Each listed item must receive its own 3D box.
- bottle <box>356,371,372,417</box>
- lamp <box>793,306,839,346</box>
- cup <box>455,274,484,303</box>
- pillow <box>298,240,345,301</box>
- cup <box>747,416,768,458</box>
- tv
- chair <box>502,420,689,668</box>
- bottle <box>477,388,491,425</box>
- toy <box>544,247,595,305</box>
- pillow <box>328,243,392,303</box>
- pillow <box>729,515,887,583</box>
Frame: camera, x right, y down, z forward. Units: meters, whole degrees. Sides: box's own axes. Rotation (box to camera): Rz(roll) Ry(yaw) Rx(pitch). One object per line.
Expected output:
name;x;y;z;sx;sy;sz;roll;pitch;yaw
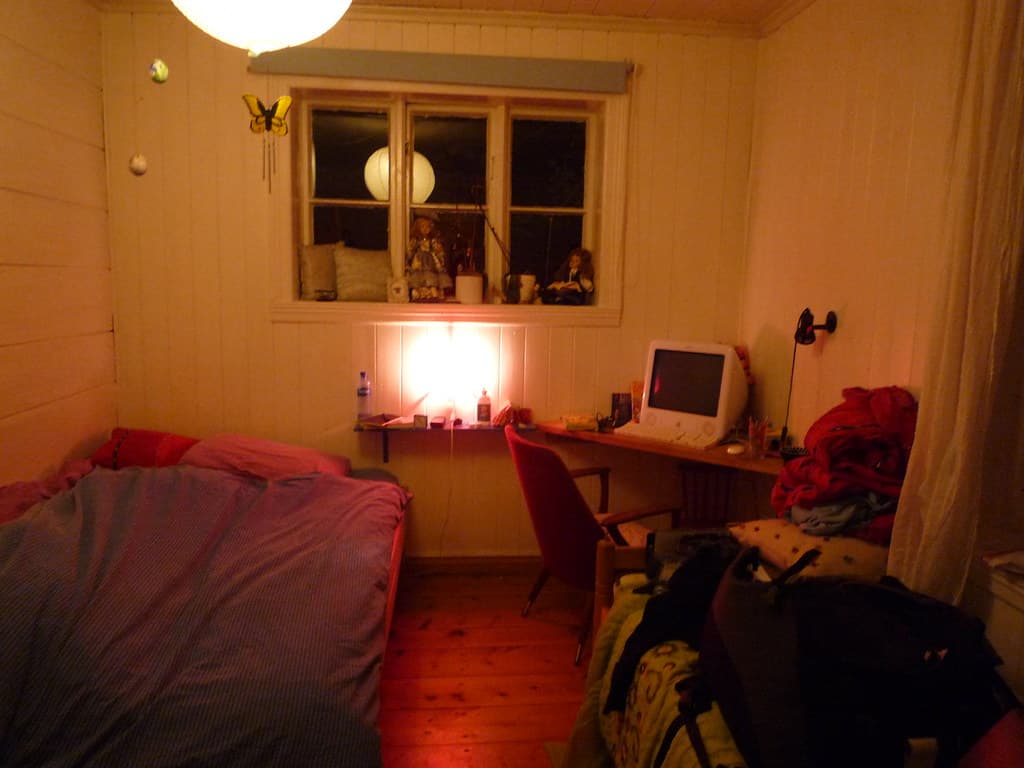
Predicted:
bottle;-0.823;0.056;4.390;0.075;0.253;0.054;-2;8;-13
lamp;1.392;-0.267;3.668;0.162;0.184;0.141;-2;3;-4
cup;-0.238;-0.533;4.438;0.132;0.154;0.148;3;4;28
pillow;-1.061;-0.621;4.408;0.275;0.295;0.099;-6;3;-23
cup;1.148;0.255;3.703;0.080;0.138;0.146;3;9;18
tv;0.925;0.032;4.166;0.564;0.614;0.425;9;0;40
chair;0.351;0.611;4.136;0.915;1.404;0.993;-4;7;-18
bottle;-0.153;0.118;4.392;0.074;0.172;0.153;0;8;-5
toy;0.345;-0.604;4.532;0.293;0.397;0.279;3;5;-39
pillow;-0.827;-0.612;4.410;0.311;0.295;0.129;-2;8;-14
pillow;1.109;0.599;2.851;0.282;0.095;0.301;-2;5;-17
